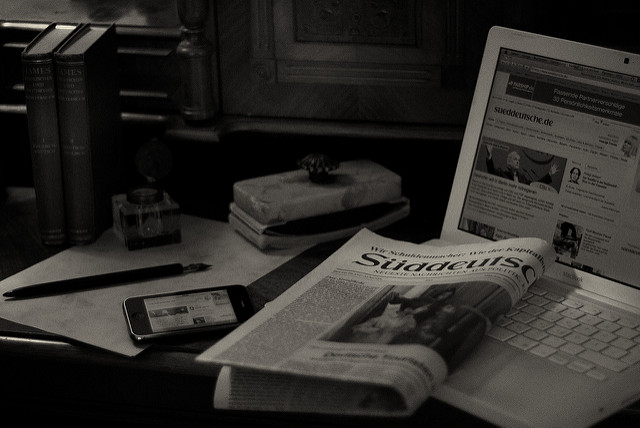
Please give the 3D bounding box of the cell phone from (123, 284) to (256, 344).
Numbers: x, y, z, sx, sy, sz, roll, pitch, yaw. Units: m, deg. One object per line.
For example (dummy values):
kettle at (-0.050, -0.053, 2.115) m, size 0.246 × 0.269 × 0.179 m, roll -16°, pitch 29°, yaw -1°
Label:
cell phone at (-0.157, 0.119, 0.659) m, size 0.123 × 0.012 × 0.063 m, roll -6°, pitch 31°, yaw -12°

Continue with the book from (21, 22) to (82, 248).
book at (-0.382, -0.111, 0.818) m, size 0.061 × 0.287 × 0.137 m, roll -2°, pitch 25°, yaw -7°
